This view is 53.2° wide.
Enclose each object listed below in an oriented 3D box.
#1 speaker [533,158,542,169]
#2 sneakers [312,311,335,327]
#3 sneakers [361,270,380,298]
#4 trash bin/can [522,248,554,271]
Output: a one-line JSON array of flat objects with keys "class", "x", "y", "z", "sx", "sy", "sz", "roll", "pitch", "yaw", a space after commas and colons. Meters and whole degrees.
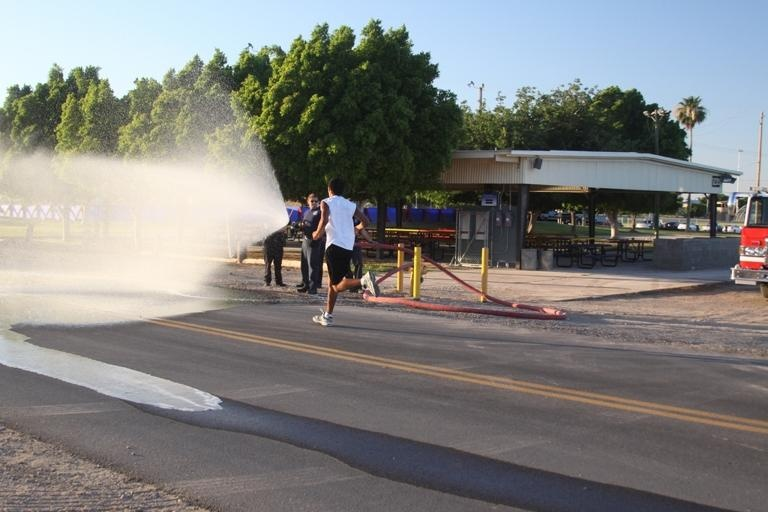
[{"class": "speaker", "x": 5.343, "y": -3.256, "z": 26.794, "sx": 0.310, "sy": 0.409, "sz": 0.218, "roll": 3, "pitch": 15, "yaw": 11}, {"class": "sneakers", "x": -1.061, "y": 1.084, "z": 13.322, "sx": 0.174, "sy": 0.238, "sz": 0.411, "roll": 1, "pitch": 6, "yaw": -32}, {"class": "sneakers", "x": -0.273, "y": 0.525, "z": 13.434, "sx": 0.230, "sy": 0.231, "sz": 0.534, "roll": -5, "pitch": -41, "yaw": 22}, {"class": "trash bin/can", "x": 5.249, "y": 0.112, "z": 26.424, "sx": 1.297, "sy": 0.759, "sz": 0.637, "roll": -7, "pitch": 17, "yaw": -26}]
